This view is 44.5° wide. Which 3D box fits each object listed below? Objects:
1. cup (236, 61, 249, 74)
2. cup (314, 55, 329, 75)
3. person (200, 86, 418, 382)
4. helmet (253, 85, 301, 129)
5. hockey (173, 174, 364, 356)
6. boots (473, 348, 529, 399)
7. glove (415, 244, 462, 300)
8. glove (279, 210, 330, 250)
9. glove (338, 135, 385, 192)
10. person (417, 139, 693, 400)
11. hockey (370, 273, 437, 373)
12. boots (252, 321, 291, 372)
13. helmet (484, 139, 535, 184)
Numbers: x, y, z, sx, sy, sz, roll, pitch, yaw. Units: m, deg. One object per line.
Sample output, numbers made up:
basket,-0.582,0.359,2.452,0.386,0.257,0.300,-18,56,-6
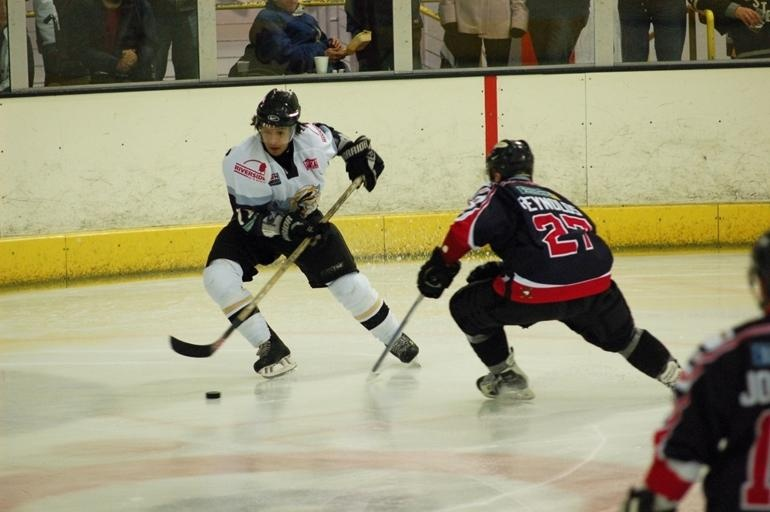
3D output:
cup,-1.121,-1.486,7.437,0.081,0.077,0.085,8,23,-3
cup,-0.504,-1.516,7.473,0.134,0.133,0.125,3,12,-1
person,-0.442,-0.172,5.069,1.171,1.501,0.770,-6,19,-9
helmet,-0.557,-0.774,4.822,0.194,0.209,0.225,11,27,5
hockey,-0.739,0.084,5.592,0.267,0.137,1.571,43,71,10
boots,0.579,0.542,4.565,0.383,0.253,0.132,6,32,12
glove,0.256,0.078,4.519,0.164,0.263,0.114,44,30,7
glove,-0.412,-0.149,4.910,0.214,0.200,0.098,-15,4,-7
glove,-0.123,-0.514,5.274,0.308,0.139,0.242,37,30,-6
person,0.905,0.070,4.555,1.473,1.112,0.886,7,7,22
hockey,0.087,0.359,4.826,0.135,0.766,0.038,28,35,6
boots,-0.587,0.506,4.916,0.211,0.238,0.112,-7,15,-17
helmet,0.598,-0.455,4.553,0.184,0.208,0.223,-4,17,-25
